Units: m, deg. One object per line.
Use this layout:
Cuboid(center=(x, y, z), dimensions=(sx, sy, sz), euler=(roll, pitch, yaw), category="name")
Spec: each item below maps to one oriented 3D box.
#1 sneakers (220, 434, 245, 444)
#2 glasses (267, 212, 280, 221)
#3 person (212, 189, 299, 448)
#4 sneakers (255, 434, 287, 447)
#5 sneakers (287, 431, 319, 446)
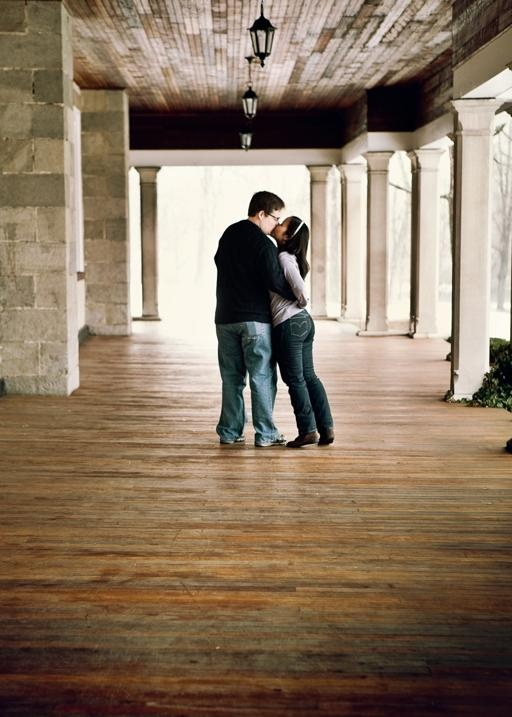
Cuboid(center=(-0.149, 0.503, 4.973), dimensions=(0.160, 0.066, 0.053), euler=(3, -1, -31), category="sneakers")
Cuboid(center=(0.108, -0.850, 4.692), dimensions=(0.033, 0.057, 0.048), euler=(17, 18, 39), category="glasses")
Cuboid(center=(-0.043, -0.137, 4.755), dimensions=(0.558, 1.378, 0.346), euler=(6, 9, 43), category="person")
Cuboid(center=(0.092, 0.513, 4.916), dimensions=(0.195, 0.082, 0.069), euler=(-4, 6, -26), category="sneakers")
Cuboid(center=(0.289, 0.492, 4.854), dimensions=(0.221, 0.095, 0.078), euler=(-7, 5, 28), category="sneakers")
